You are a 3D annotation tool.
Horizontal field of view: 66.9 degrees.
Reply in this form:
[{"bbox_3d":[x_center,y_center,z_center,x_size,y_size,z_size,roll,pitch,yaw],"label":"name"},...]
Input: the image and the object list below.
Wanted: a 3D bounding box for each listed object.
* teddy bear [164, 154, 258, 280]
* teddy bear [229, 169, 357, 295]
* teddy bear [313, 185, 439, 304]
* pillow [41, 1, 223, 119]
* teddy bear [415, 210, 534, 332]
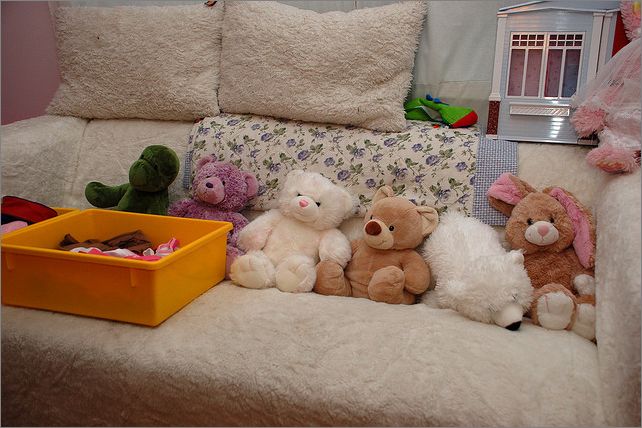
[{"bbox_3d":[-0.450,0.006,1.908,0.437,0.446,0.351,13,11,-11],"label":"teddy bear"},{"bbox_3d":[-0.104,0.064,1.825,0.433,0.445,0.406,8,7,-22],"label":"teddy bear"},{"bbox_3d":[0.208,0.134,1.754,0.372,0.418,0.325,14,8,30],"label":"teddy bear"},{"bbox_3d":[-0.817,-0.681,2.182,0.592,0.410,0.122,1,0,7],"label":"pillow"},{"bbox_3d":[0.497,0.179,1.630,0.271,0.145,0.356,-19,54,-3],"label":"teddy bear"}]
